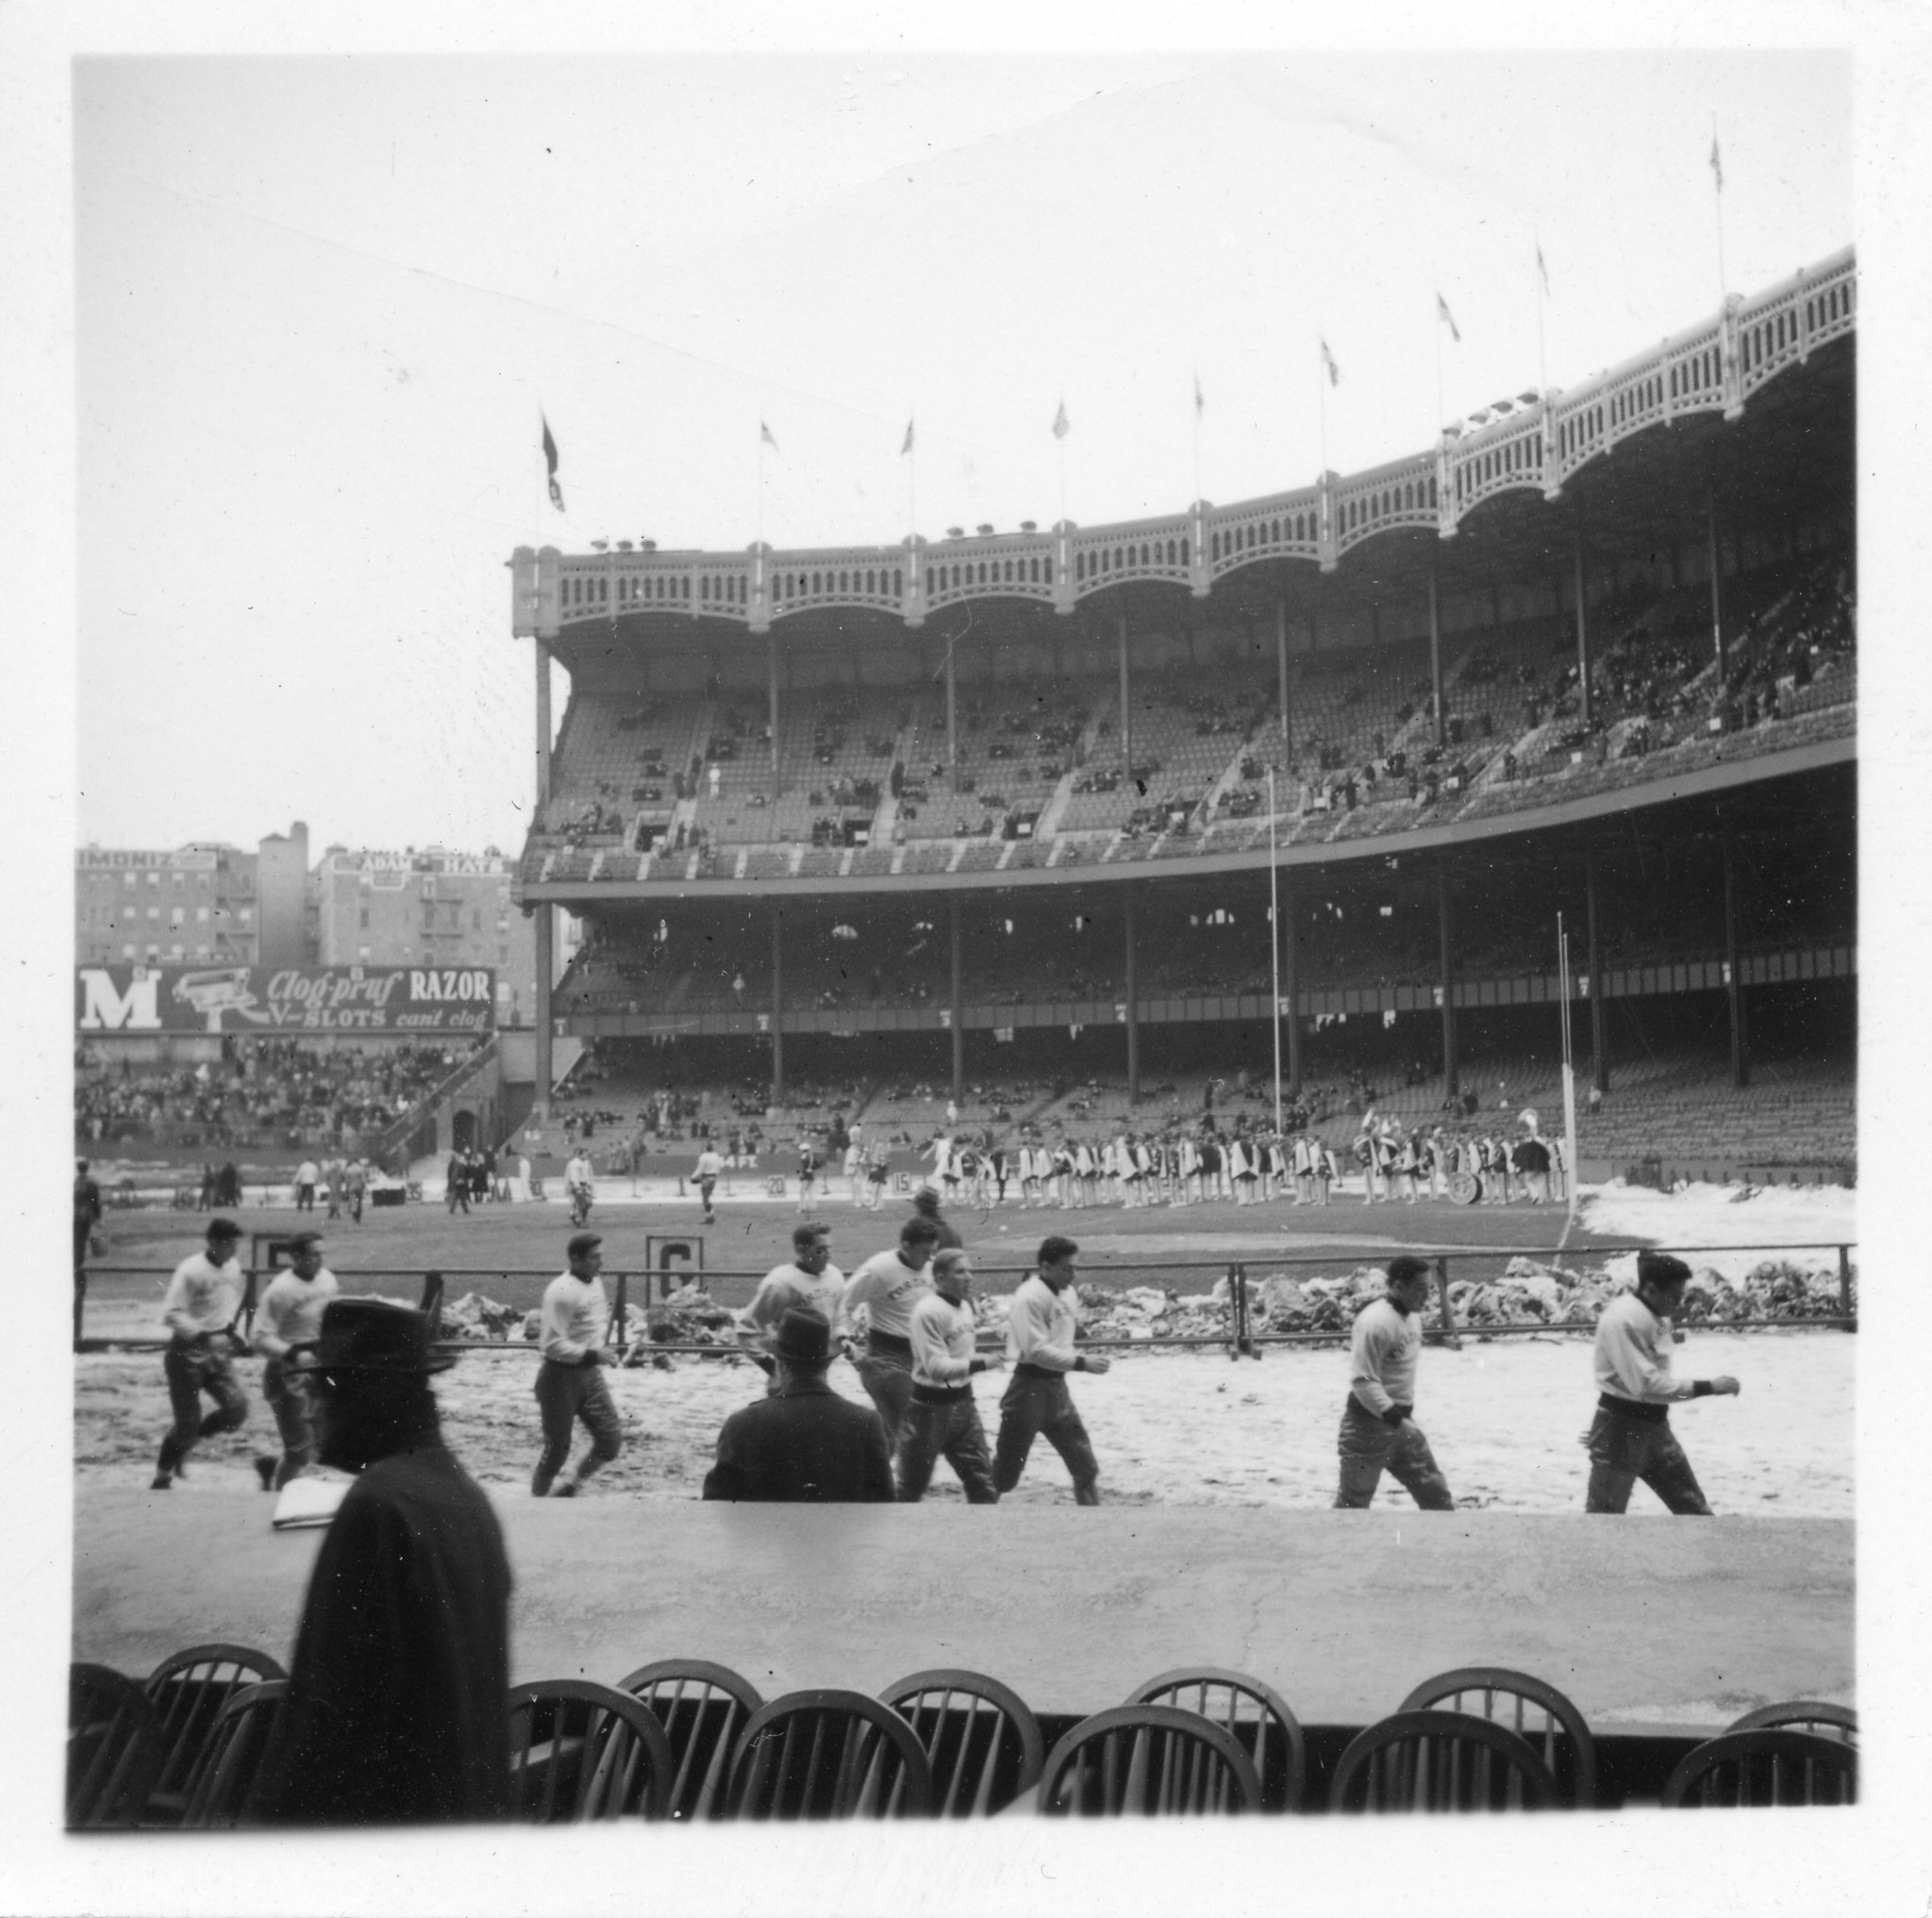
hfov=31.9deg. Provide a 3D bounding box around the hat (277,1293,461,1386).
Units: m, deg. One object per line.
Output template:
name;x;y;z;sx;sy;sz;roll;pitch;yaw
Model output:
hat;-2.628;1.687;14.956;0.810;0.373;0.736;3;-4;-29

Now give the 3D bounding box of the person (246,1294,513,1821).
person;-2.533;2.706;14.773;1.065;2.355;0.563;-1;4;-10

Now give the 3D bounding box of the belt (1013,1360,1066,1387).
belt;0.462;2.494;20.383;0.300;0.172;0.261;0;4;-4
